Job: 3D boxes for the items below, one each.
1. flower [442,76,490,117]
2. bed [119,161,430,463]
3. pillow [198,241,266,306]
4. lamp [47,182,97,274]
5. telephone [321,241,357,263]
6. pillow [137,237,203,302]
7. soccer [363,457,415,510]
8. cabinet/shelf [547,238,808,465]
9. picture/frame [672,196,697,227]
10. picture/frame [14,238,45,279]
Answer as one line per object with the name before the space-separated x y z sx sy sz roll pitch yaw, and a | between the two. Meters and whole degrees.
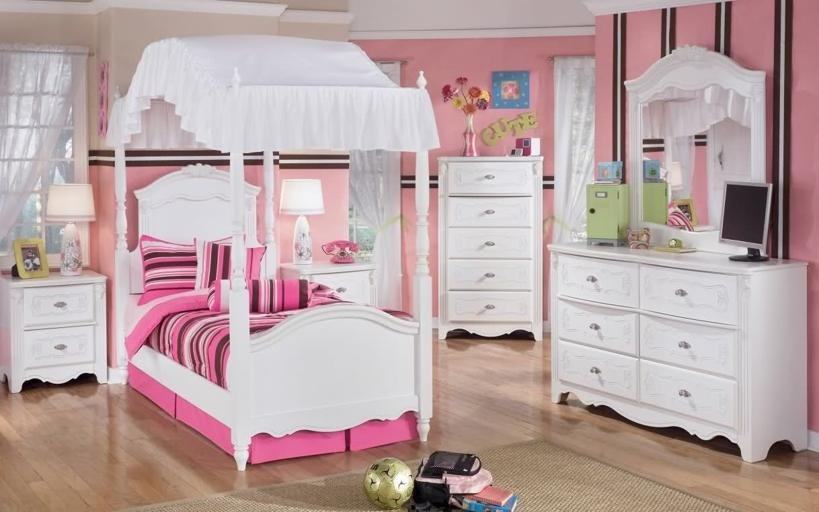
flower | 0.698 -1.888 8.156 0.548 0.514 0.539 -6 11 -30
bed | -1.323 0.539 6.043 1.998 1.544 2.586 0 5 -34
pillow | -1.653 0.157 6.311 0.641 0.225 0.591 -6 48 -21
lamp | -3.236 -0.265 6.612 0.402 0.885 0.407 -2 4 -5
telephone | -0.732 -0.051 7.302 0.395 0.244 0.232 1 6 -7
pillow | -2.252 0.156 6.394 0.642 0.582 0.206 -1 -3 -11
soccer | -0.122 1.463 4.478 0.344 0.309 0.315 2 -2 -3
cabinet/shelf | 2.163 0.714 5.740 0.792 1.485 2.126 -4 5 -29
picture/frame | 2.310 -0.371 5.675 0.036 0.309 0.255 -12 8 -27
picture/frame | -3.580 0.039 6.418 0.369 0.431 0.261 -4 4 -39
